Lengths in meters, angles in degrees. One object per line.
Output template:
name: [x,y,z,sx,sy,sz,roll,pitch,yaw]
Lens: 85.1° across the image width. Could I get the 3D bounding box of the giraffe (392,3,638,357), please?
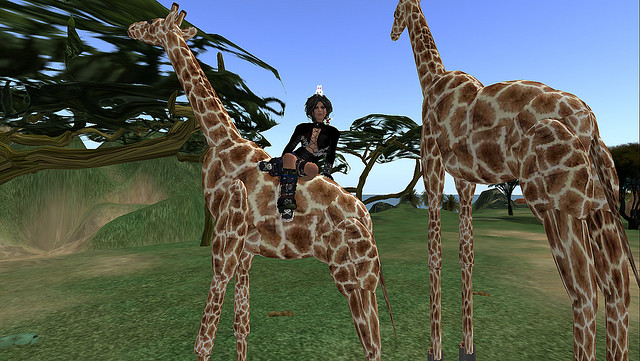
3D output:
giraffe: [3.012,0.152,5.503,2.657,5.699,1.076,-3,-7,42]
